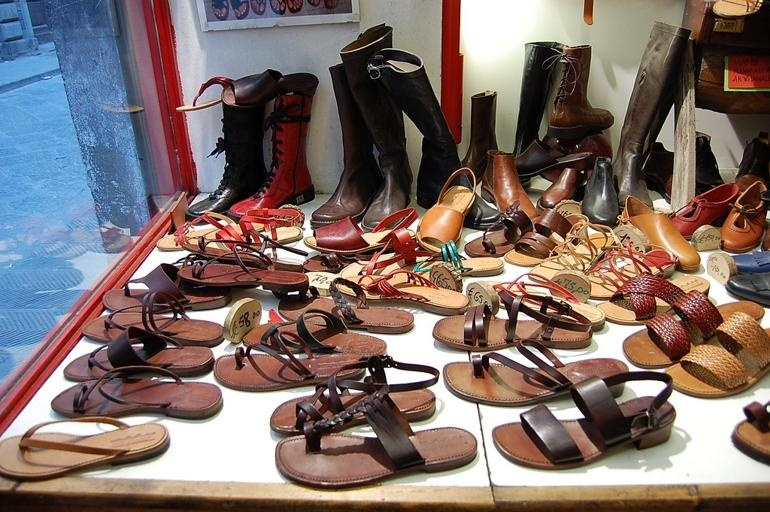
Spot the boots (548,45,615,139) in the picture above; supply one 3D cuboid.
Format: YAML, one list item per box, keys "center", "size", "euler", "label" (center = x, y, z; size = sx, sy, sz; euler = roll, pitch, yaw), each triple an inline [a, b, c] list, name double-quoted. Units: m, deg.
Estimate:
- center: [1.162, -0.930, 3.138]
  size: [0.354, 0.541, 0.217]
  euler: [8, 30, 16]
  label: "boots"

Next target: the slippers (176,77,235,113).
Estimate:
- center: [-1.027, -0.922, 3.049]
  size: [0.351, 0.120, 0.113]
  euler: [-16, 49, 0]
  label: "slippers"

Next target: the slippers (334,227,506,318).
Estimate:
- center: [0.115, 0.099, 2.351]
  size: [0.563, 0.131, 0.425]
  euler: [10, 34, 23]
  label: "slippers"

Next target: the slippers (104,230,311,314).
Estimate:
- center: [-0.718, 0.088, 2.350]
  size: [0.595, 0.133, 0.419]
  euler: [7, 20, 9]
  label: "slippers"

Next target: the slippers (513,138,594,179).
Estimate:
- center: [1.019, -0.590, 3.176]
  size: [0.510, 0.150, 0.183]
  euler: [-5, 32, 26]
  label: "slippers"

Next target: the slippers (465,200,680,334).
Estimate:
- center: [0.850, -0.010, 2.516]
  size: [0.613, 0.165, 0.722]
  euler: [25, 30, 36]
  label: "slippers"

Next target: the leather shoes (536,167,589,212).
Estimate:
- center: [0.994, -0.398, 3.036]
  size: [0.411, 0.147, 0.147]
  euler: [-29, 37, -32]
  label: "leather shoes"

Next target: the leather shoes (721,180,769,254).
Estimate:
- center: [1.716, -0.203, 2.623]
  size: [0.179, 0.166, 0.431]
  euler: [19, 58, 37]
  label: "leather shoes"

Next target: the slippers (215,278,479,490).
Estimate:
- center: [-0.094, 0.497, 1.694]
  size: [0.767, 0.238, 0.425]
  euler: [6, 27, 13]
  label: "slippers"

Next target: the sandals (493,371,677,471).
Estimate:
- center: [0.608, 0.542, 1.699]
  size: [0.611, 0.203, 0.249]
  euler: [-10, 35, 4]
  label: "sandals"

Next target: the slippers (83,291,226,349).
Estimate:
- center: [-0.910, 0.267, 2.135]
  size: [0.553, 0.169, 0.234]
  euler: [8, 30, 4]
  label: "slippers"

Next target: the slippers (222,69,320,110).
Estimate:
- center: [-0.631, -0.928, 2.999]
  size: [0.556, 0.164, 0.173]
  euler: [-10, 59, -14]
  label: "slippers"

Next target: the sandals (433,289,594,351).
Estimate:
- center: [0.485, 0.265, 2.081]
  size: [0.666, 0.211, 0.231]
  euler: [1, 32, 2]
  label: "sandals"

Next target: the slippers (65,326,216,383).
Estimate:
- center: [-0.886, 0.369, 1.960]
  size: [0.517, 0.128, 0.218]
  euler: [2, 25, -4]
  label: "slippers"
